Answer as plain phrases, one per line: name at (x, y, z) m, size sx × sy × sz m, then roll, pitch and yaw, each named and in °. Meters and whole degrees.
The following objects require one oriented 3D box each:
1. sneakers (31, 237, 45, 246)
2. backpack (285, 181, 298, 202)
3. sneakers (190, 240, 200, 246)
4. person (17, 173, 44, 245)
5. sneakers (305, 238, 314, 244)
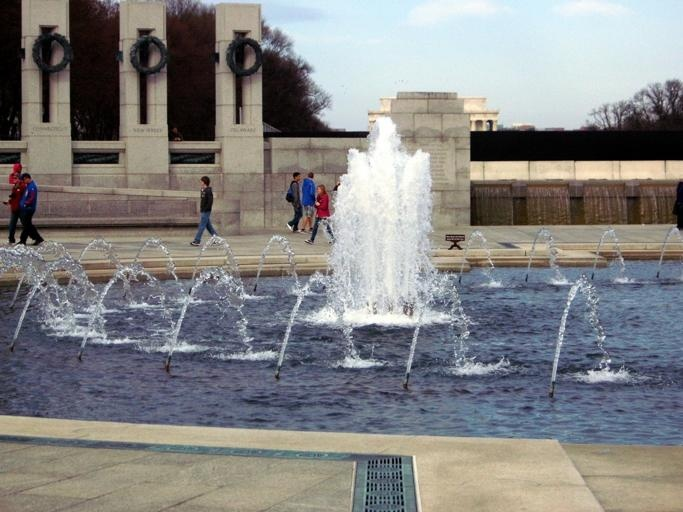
sneakers at (-6.634, -0.335, 28.141) m, size 0.273 × 0.085 × 0.180 m, roll 2°, pitch -31°, yaw -6°
backpack at (-1.358, -1.789, 35.296) m, size 0.361 × 0.618 × 0.633 m, roll 5°, pitch 6°, yaw -2°
sneakers at (-3.436, -0.303, 30.022) m, size 0.276 × 0.106 × 0.103 m, roll 3°, pitch 1°, yaw 9°
person at (-6.812, -1.031, 28.183) m, size 0.485 × 1.587 × 1.162 m, roll -2°, pitch 3°, yaw -13°
sneakers at (-0.788, -0.358, 31.252) m, size 0.091 × 0.097 × 0.248 m, roll -5°, pitch 13°, yaw -41°
